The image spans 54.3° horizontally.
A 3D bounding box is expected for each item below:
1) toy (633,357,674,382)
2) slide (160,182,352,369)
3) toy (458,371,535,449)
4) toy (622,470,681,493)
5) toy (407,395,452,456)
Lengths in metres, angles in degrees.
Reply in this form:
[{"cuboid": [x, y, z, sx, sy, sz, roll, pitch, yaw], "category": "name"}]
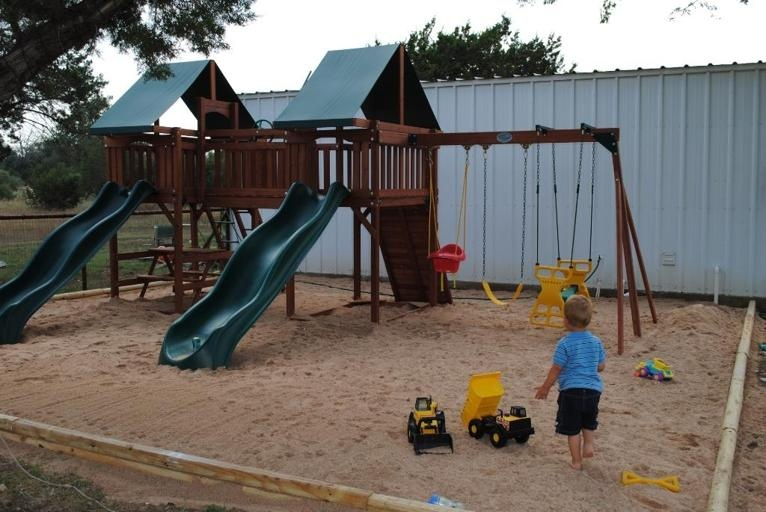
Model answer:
[{"cuboid": [3.371, 1.405, 9.333, 0.405, 0.222, 0.257, 3, 5, 36], "category": "toy"}, {"cuboid": [-1.788, 0.172, 10.322, 0.986, 2.354, 2.718, 3, 7, 32], "category": "slide"}, {"cuboid": [1.169, 1.604, 7.817, 0.777, 0.702, 0.363, 5, 8, 42], "category": "toy"}, {"cuboid": [2.554, 2.173, 7.155, 0.399, 0.067, 0.230, 0, 4, 13], "category": "toy"}, {"cuboid": [0.480, 1.728, 7.662, 0.453, 0.513, 0.363, -1, 6, -3], "category": "toy"}]
